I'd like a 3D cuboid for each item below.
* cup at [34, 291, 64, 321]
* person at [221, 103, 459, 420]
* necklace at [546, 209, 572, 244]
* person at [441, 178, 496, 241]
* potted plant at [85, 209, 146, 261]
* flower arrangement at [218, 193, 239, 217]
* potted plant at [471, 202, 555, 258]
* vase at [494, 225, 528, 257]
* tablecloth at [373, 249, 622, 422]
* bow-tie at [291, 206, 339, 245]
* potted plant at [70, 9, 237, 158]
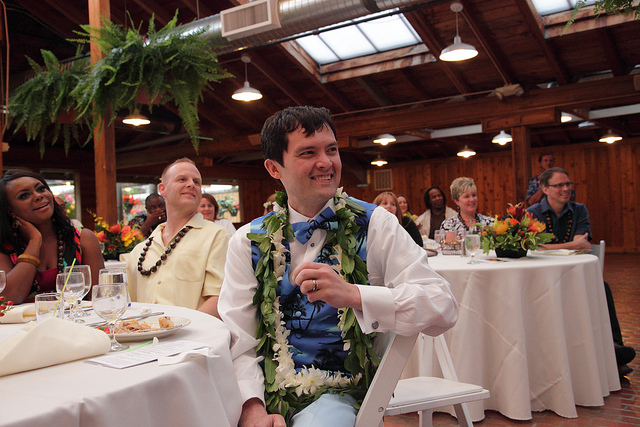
[{"bbox_3d":[-1.241,0.427,2.318,0.138,0.156,0.145,-1,-7,0],"label":"cup"},{"bbox_3d":[0.020,0.211,2.391,1.041,1.486,0.465,-4,-5,-6],"label":"person"},{"bbox_3d":[2.330,0.153,4.787,0.222,0.375,0.105,-4,6,12],"label":"necklace"},{"bbox_3d":[1.623,-0.011,5.310,0.768,0.703,0.403,-3,-5,-1],"label":"person"},{"bbox_3d":[-2.285,0.243,5.476,0.422,0.257,0.432,-18,3,-43],"label":"potted plant"},{"bbox_3d":[-2.872,-0.295,15.476,0.615,0.742,0.242,-4,-5,0],"label":"flower arrangement"},{"bbox_3d":[1.524,0.158,4.042,0.478,0.347,0.490,-2,-10,-3],"label":"potted plant"},{"bbox_3d":[1.502,0.219,3.848,0.234,0.161,0.241,-3,7,18],"label":"vase"},{"bbox_3d":[1.569,0.897,3.698,1.428,1.166,0.614,-2,-6,-24],"label":"tablecloth"},{"bbox_3d":[0.001,0.056,2.492,0.339,0.103,0.216,-12,25,-19],"label":"bow-tie"},{"bbox_3d":[-1.306,-0.932,3.618,1.180,1.080,0.549,-7,-6,22],"label":"potted plant"}]
